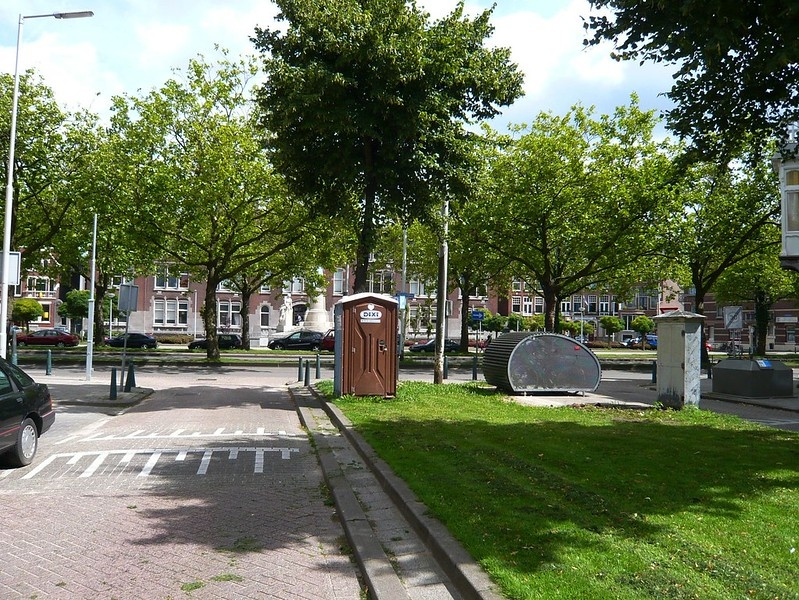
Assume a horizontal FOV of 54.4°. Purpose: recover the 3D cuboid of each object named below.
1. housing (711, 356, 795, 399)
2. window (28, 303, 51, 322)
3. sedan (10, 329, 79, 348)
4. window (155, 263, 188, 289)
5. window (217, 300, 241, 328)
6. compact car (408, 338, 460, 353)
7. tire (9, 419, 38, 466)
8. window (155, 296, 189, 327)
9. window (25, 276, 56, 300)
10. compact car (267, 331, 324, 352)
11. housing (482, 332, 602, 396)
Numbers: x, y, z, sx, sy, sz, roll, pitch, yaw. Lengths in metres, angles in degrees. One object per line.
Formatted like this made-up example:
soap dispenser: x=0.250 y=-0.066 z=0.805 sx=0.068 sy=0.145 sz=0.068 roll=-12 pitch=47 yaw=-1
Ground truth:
housing: x=10.614 y=2.309 z=23.079 sx=1.409 sy=0.892 sz=1.496 roll=-1 pitch=-1 yaw=-15
window: x=-32.301 y=1.099 z=69.545 sx=1.559 sy=1.698 sz=1.942 roll=3 pitch=-14 yaw=-8
sedan: x=-26.444 y=2.428 z=58.020 sx=4.260 sy=1.468 sz=2.020 roll=5 pitch=-7 yaw=-13
window: x=-17.091 y=-1.762 z=58.074 sx=2.694 sy=1.965 sz=0.305 roll=-1 pitch=-13 yaw=-9
window: x=-16.866 y=1.427 z=76.496 sx=2.535 sy=3.126 sz=0.253 roll=-2 pitch=1 yaw=-11
compact car: x=2.276 y=3.001 z=49.637 sx=2.870 sy=0.937 sz=1.271 roll=1 pitch=-6 yaw=-2
tire: x=-6.078 y=2.290 z=12.504 sx=0.240 sy=0.687 sz=0.676 roll=-8 pitch=-13 yaw=9
window: x=-22.004 y=1.157 z=74.505 sx=2.740 sy=2.496 sz=0.240 roll=1 pitch=-8 yaw=-17
window: x=-36.098 y=-1.317 z=77.842 sx=1.933 sy=2.361 sz=3.626 roll=1 pitch=4 yaw=21
compact car: x=-6.897 y=2.786 z=52.845 sx=3.178 sy=1.187 sz=1.528 roll=2 pitch=-6 yaw=5
housing: x=4.008 y=1.792 z=21.932 sx=3.024 sy=1.819 sz=1.250 roll=0 pitch=5 yaw=8
